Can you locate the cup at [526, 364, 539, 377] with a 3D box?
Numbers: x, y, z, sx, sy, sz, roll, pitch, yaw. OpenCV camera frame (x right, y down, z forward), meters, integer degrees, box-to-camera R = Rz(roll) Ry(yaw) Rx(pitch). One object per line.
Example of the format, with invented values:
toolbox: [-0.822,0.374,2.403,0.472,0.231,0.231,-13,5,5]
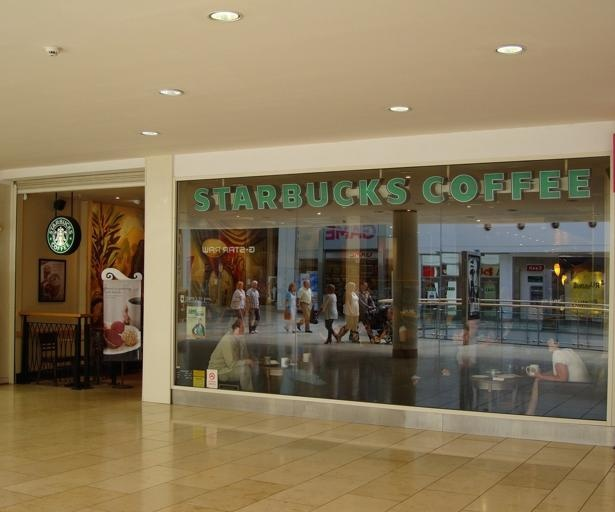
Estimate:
cup: [2.617,1.320,5.776,0.169,0.125,0.099,1,-5,14]

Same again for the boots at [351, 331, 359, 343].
boots: [0.610,1.048,6.402,0.148,0.124,0.084,-3,-5,15]

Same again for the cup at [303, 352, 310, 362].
cup: [-0.014,1.360,6.702,0.128,0.120,0.117,1,-2,0]

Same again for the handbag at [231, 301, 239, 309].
handbag: [-1.044,0.709,7.148,0.153,0.095,0.085,2,2,33]

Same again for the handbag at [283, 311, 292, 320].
handbag: [-0.275,0.816,6.853,0.112,0.122,0.142,-2,-6,15]
